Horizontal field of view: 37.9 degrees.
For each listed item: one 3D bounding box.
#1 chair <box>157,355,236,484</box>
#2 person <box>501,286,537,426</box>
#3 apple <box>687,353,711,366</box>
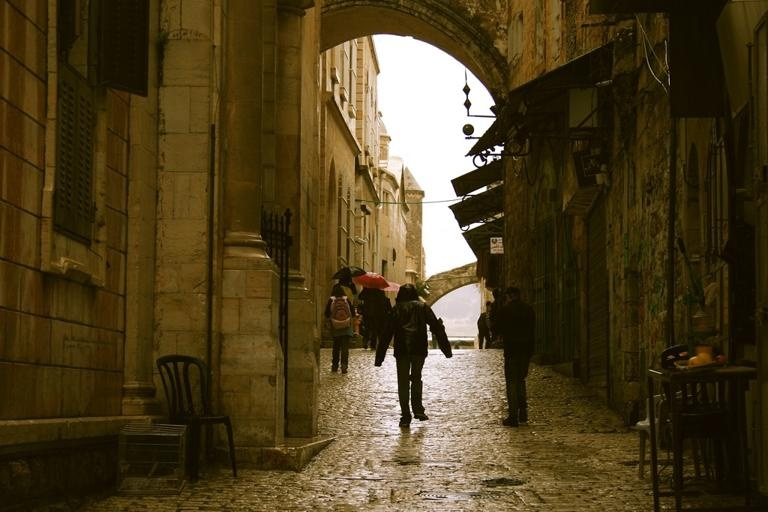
[{"bbox_3d":[-2.132,1.791,12.720,0.866,1.449,1.414,-2,-11,-9],"label":"chair"},{"bbox_3d":[2.077,1.515,17.300,0.584,2.204,1.431,-5,-11,7],"label":"person"},{"bbox_3d":[3.049,0.989,10.795,0.174,0.083,0.132,-13,-2,-40],"label":"apple"}]
